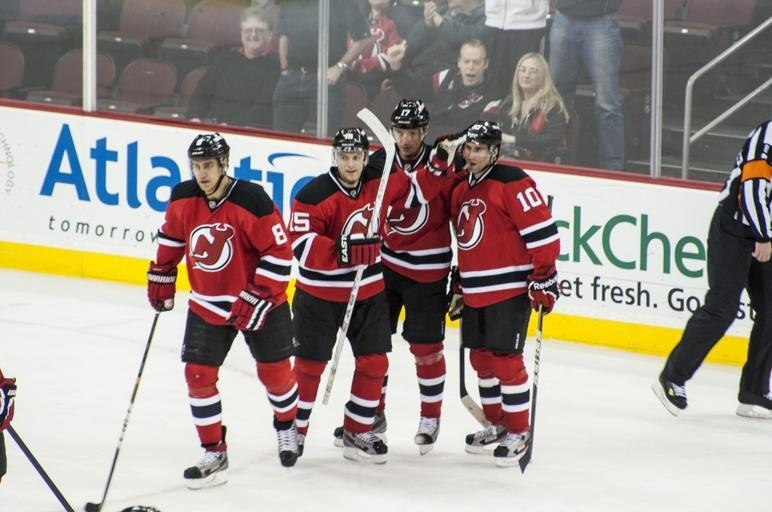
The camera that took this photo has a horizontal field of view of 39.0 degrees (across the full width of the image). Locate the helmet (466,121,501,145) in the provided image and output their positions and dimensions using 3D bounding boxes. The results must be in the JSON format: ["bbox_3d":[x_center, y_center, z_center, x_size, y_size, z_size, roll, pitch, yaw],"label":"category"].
[{"bbox_3d":[0.572,-0.724,6.309,0.171,0.157,0.135,19,-9,-11],"label":"helmet"}]

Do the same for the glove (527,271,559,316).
[{"bbox_3d":[0.895,0.208,6.228,0.167,0.232,0.098,5,6,7],"label":"glove"}]

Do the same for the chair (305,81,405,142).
[{"bbox_3d":[-0.239,-1.142,8.432,0.376,0.624,0.396,9,10,12],"label":"chair"}]

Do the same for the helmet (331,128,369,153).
[{"bbox_3d":[-0.196,-0.657,6.207,0.140,0.145,0.170,1,16,-1],"label":"helmet"}]

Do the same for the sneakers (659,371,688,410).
[{"bbox_3d":[1.793,0.854,6.951,0.273,0.118,0.102,45,16,28],"label":"sneakers"}]

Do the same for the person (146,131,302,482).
[{"bbox_3d":[-0.897,0.296,6.153,0.926,1.958,0.413,4,6,-6],"label":"person"}]

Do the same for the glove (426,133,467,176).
[{"bbox_3d":[0.360,-0.593,6.282,0.204,0.246,0.105,5,10,-4],"label":"glove"}]

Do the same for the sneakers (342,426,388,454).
[{"bbox_3d":[-0.129,1.084,6.387,0.310,0.128,0.112,1,5,42],"label":"sneakers"}]

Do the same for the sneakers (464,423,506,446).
[{"bbox_3d":[0.600,1.072,6.533,0.292,0.126,0.096,-5,21,-1],"label":"sneakers"}]

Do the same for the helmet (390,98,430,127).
[{"bbox_3d":[0.126,-0.853,6.359,0.160,0.194,0.184,1,26,2],"label":"helmet"}]

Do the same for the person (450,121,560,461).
[{"bbox_3d":[0.651,0.218,6.338,0.667,1.977,0.261,5,6,6],"label":"person"}]

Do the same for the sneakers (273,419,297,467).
[{"bbox_3d":[-0.566,1.082,6.253,0.094,0.299,0.130,-6,-5,1],"label":"sneakers"}]

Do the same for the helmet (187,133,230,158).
[{"bbox_3d":[-0.985,-0.623,6.037,0.157,0.171,0.178,-2,-4,1],"label":"helmet"}]

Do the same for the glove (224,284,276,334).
[{"bbox_3d":[-0.746,0.290,5.991,0.226,0.236,0.095,38,6,12],"label":"glove"}]
